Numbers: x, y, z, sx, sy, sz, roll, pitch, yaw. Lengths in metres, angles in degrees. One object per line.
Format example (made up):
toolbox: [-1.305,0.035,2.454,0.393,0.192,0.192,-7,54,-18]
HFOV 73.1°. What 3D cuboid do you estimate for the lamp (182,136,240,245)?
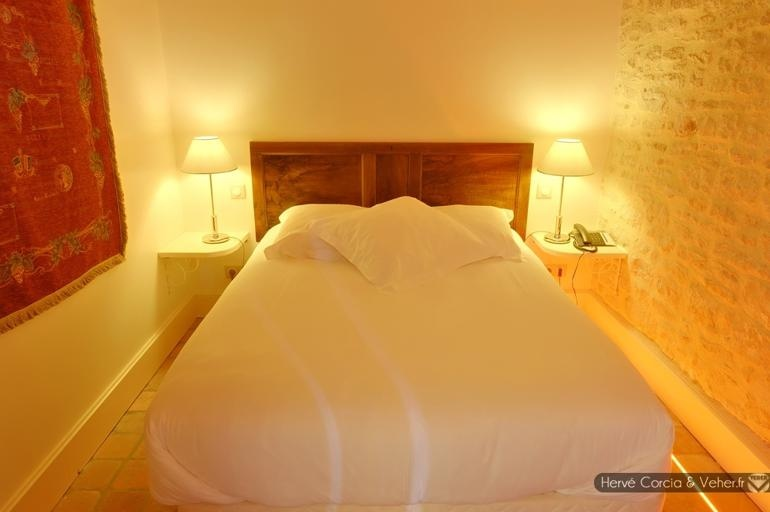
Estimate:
lamp: [-1.293,-0.487,3.876,0.385,0.761,0.370,-7,22,-21]

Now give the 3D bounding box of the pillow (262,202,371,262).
pillow: [-0.518,-0.139,3.309,0.460,0.129,0.469,2,38,-4]

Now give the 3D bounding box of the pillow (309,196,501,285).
pillow: [0.239,-0.100,3.173,0.788,0.162,0.623,-13,43,-30]
